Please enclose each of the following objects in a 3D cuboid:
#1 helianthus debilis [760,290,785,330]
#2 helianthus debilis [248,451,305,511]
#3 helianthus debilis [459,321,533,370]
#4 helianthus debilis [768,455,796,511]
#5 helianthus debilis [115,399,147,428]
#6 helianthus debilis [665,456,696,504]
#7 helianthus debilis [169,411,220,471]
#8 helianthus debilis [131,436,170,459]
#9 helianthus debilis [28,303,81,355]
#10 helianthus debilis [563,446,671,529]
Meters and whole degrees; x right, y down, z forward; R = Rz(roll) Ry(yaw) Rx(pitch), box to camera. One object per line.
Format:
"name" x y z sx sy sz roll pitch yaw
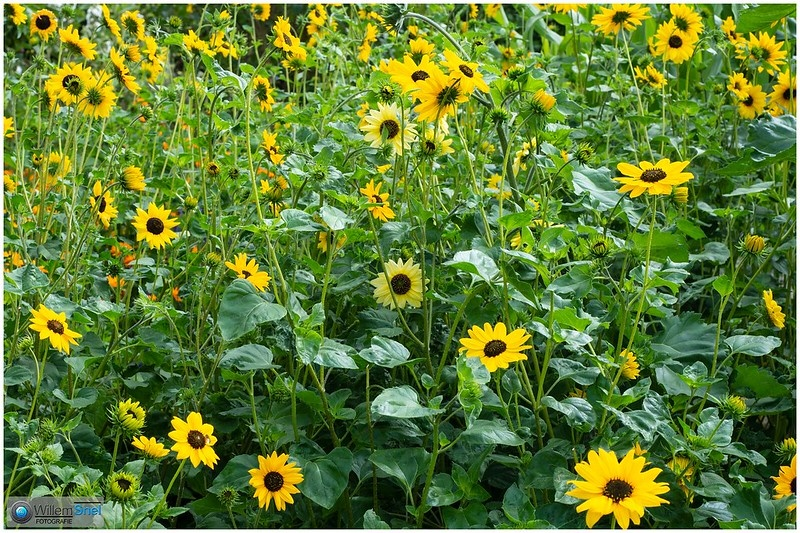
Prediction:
"helianthus debilis" 1.273 0.142 2.392 0.052 0.131 0.244 -7 -11 27
"helianthus debilis" -0.351 0.620 2.043 0.150 0.168 0.171 -2 -10 -6
"helianthus debilis" 0.278 0.233 2.045 0.199 0.137 0.191 -3 -10 4
"helianthus debilis" 1.199 0.668 2.183 0.071 0.165 0.282 -7 -11 26
"helianthus debilis" -0.772 0.433 2.062 0.067 0.089 0.091 -29 -23 20
"helianthus debilis" 0.852 0.631 2.121 0.117 0.050 0.117 20 36 14
"helianthus debilis" -0.591 0.498 2.039 0.118 0.154 0.175 -1 -10 -9
"helianthus debilis" -0.720 0.519 2.035 0.089 0.068 0.198 1 -11 -20
"helianthus debilis" -1.075 0.190 2.194 0.135 0.156 0.159 4 -12 -35
"helianthus debilis" 0.566 0.577 1.809 0.227 0.240 0.082 -5 -20 0
